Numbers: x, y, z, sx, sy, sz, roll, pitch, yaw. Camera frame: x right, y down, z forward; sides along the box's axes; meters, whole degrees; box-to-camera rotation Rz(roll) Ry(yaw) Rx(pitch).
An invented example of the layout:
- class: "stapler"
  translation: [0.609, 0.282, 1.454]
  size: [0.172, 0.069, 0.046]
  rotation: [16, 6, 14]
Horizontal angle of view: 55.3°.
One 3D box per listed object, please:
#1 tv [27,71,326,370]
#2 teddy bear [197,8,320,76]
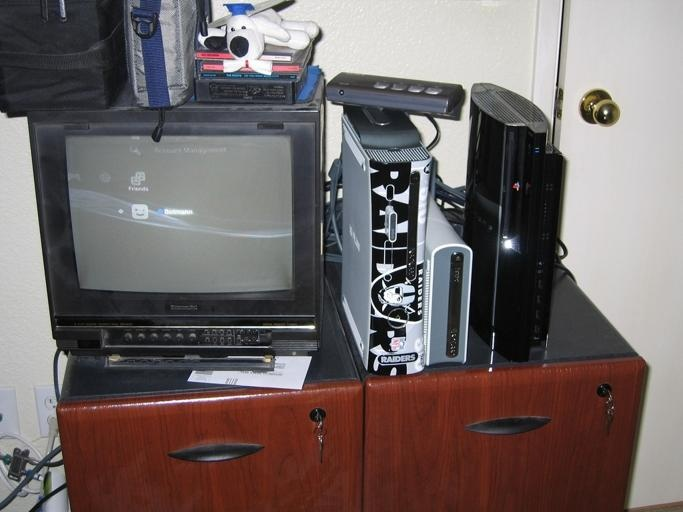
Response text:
- class: "tv"
  translation: [-0.305, -0.071, 1.393]
  size: [0.558, 0.493, 0.428]
  rotation: [-2, 17, -11]
- class: "teddy bear"
  translation: [-0.159, -0.391, 1.196]
  size: [0.162, 0.075, 0.166]
  rotation: [0, 35, 0]
